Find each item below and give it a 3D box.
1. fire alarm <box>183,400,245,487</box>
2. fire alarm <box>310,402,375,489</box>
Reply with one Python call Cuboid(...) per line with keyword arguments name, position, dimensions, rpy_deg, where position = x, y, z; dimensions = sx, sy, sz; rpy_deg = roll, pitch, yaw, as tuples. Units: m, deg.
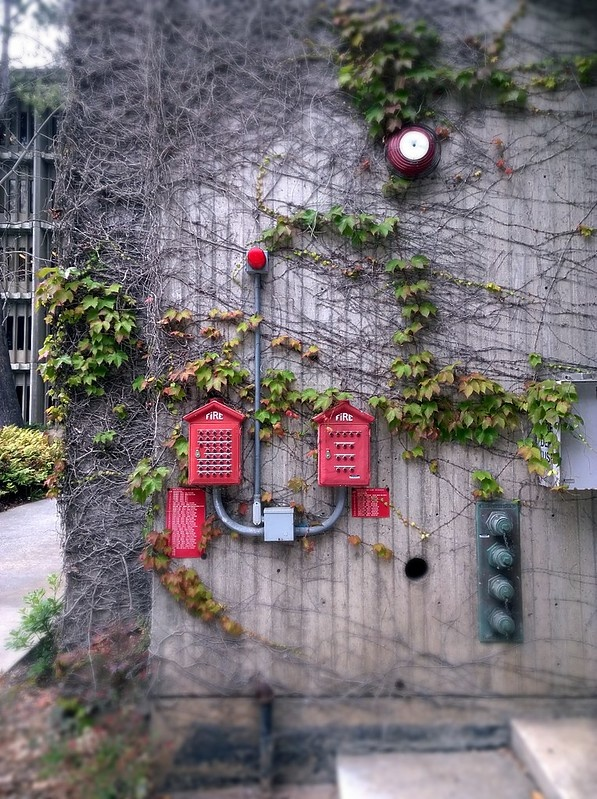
Cuboid(name="fire alarm", position=(-0.561, 0.319, 8.701), dimensions=(0.401, 0.586, 0.289), rpy_deg=(0, -14, -2))
Cuboid(name="fire alarm", position=(0.322, 0.342, 8.708), dimensions=(0.461, 0.653, 0.400), rpy_deg=(-4, -16, 15))
